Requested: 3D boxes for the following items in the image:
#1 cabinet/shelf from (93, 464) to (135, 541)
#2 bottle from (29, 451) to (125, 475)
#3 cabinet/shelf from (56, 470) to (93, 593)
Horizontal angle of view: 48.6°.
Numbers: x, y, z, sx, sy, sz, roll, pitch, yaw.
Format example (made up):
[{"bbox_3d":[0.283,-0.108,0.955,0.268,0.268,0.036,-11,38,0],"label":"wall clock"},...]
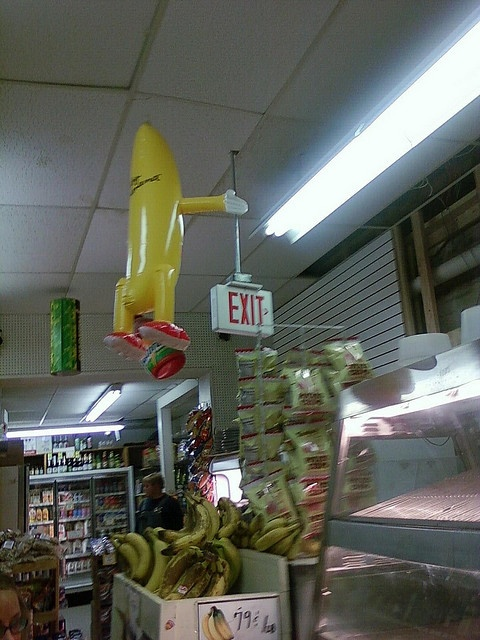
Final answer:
[{"bbox_3d":[-2.242,3.248,9.359,0.663,1.681,0.692,3,-11,-22],"label":"cabinet/shelf"},{"bbox_3d":[-3.095,2.668,9.817,1.809,0.354,0.247,3,-19,-22],"label":"bottle"},{"bbox_3d":[-2.769,3.426,8.851,0.610,1.632,1.087,-1,-12,-15],"label":"cabinet/shelf"}]
